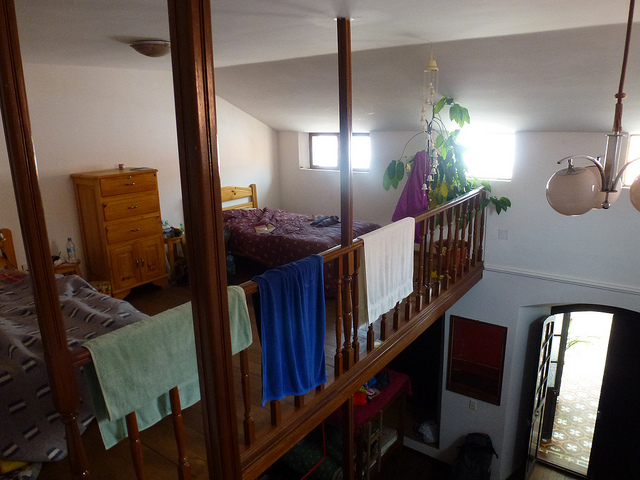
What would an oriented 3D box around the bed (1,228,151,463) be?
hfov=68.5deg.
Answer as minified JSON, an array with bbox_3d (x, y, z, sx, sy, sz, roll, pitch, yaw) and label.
[{"bbox_3d":[-2.191,0.707,3.560,1.659,0.690,1.032,28,38,32],"label":"bed"}]

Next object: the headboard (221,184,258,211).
[{"bbox_3d":[-1.351,-0.705,7.887,0.203,0.454,0.926,5,14,25],"label":"headboard"}]

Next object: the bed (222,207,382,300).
[{"bbox_3d":[-0.657,-0.020,6.796,2.328,0.677,1.934,11,13,15],"label":"bed"}]

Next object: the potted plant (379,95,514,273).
[{"bbox_3d":[1.756,-0.676,5.949,1.290,2.262,1.535,-1,2,31],"label":"potted plant"}]
